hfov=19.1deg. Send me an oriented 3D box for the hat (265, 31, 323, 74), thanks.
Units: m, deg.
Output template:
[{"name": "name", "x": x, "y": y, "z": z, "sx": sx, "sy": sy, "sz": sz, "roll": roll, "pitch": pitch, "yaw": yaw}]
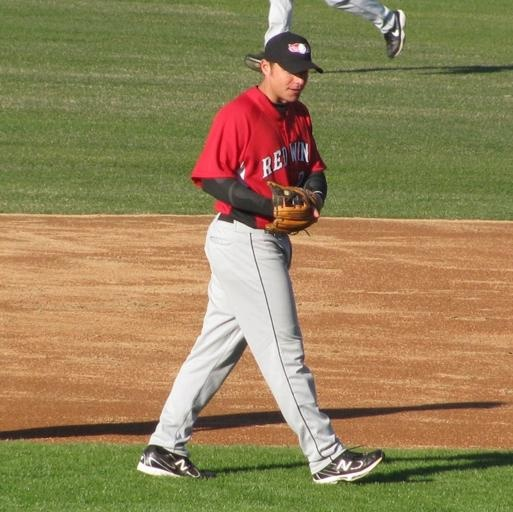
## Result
[{"name": "hat", "x": 0.333, "y": -1.872, "z": 13.863, "sx": 0.407, "sy": 0.376, "sz": 0.623, "roll": -4, "pitch": 16, "yaw": -41}]
